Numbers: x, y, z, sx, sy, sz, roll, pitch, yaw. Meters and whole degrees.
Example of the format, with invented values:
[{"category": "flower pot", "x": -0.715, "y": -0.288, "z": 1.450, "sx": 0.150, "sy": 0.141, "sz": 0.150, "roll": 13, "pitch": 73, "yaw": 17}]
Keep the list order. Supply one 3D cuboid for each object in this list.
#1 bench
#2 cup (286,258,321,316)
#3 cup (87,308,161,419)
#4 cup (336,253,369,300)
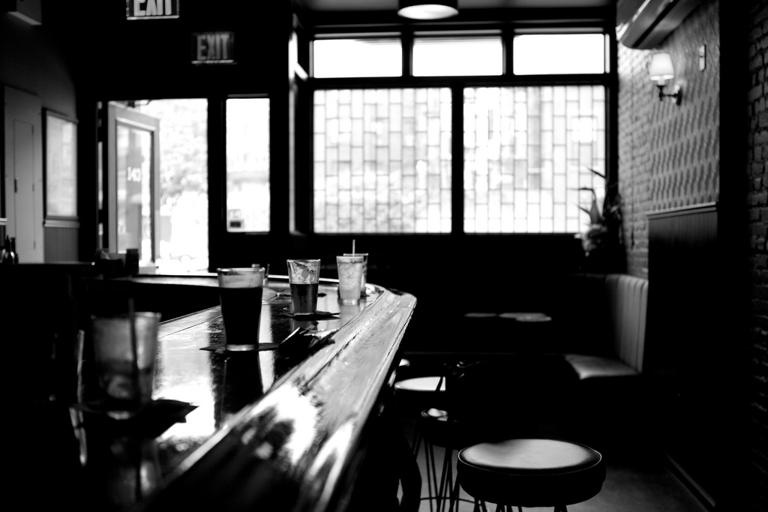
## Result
[{"category": "bench", "x": 1.871, "y": 0.586, "z": 5.159, "sx": 0.615, "sy": 0.858, "sz": 1.236, "roll": 0, "pitch": -2, "yaw": 7}, {"category": "cup", "x": -0.319, "y": 0.126, "z": 2.478, "sx": 0.127, "sy": 0.224, "sz": 0.301, "roll": 5, "pitch": 8, "yaw": -7}, {"category": "cup", "x": -0.556, "y": 0.228, "z": 1.345, "sx": 0.136, "sy": 0.226, "sz": 0.083, "roll": 2, "pitch": 9, "yaw": -21}, {"category": "cup", "x": -0.146, "y": 0.090, "z": 2.869, "sx": 0.134, "sy": 0.225, "sz": 0.335, "roll": 5, "pitch": 8, "yaw": -2}]
